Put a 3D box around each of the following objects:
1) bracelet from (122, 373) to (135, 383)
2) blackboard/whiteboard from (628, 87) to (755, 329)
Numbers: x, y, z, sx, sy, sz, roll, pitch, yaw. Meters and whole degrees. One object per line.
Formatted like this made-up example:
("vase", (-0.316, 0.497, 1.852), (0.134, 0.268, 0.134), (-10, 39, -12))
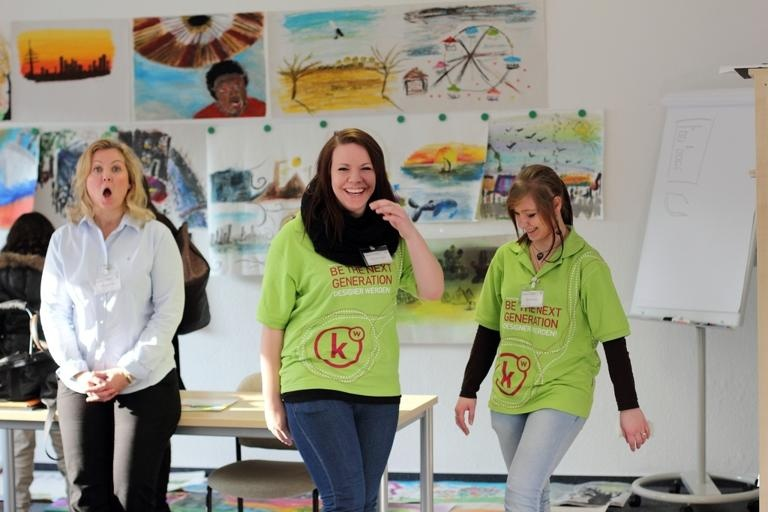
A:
("bracelet", (-1.316, 0.635, 3.877), (0.049, 0.047, 0.046), (16, -24, 31))
("blackboard/whiteboard", (2.234, -0.362, 5.304), (0.778, 1.643, 0.512), (2, 6, 26))
